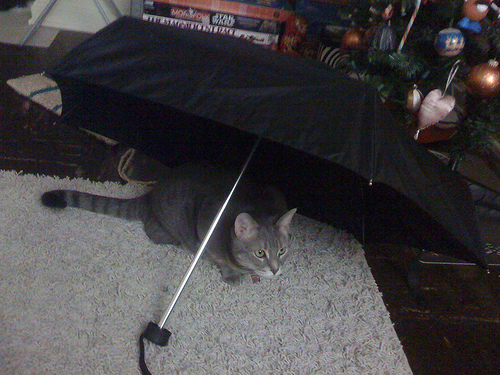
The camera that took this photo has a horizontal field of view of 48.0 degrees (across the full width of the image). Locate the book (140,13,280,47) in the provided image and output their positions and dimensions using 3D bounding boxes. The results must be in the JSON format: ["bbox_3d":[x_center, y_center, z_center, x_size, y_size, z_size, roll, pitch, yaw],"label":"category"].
[{"bbox_3d":[-0.282,-1.054,3.684,0.909,0.134,0.196,12,63,13],"label":"book"}]

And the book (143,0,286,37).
[{"bbox_3d":[-0.171,-1.017,3.358,0.636,0.068,0.109,19,27,0],"label":"book"}]

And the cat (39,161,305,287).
[{"bbox_3d":[-0.335,0.091,2.615,1.127,0.443,0.545,19,55,10],"label":"cat"}]
